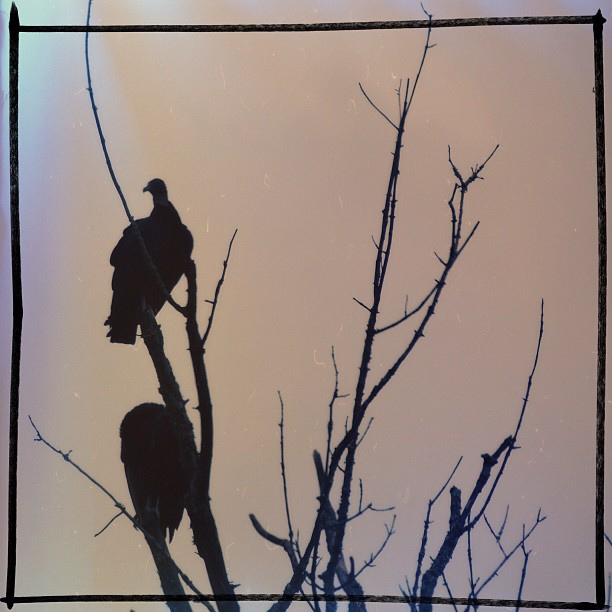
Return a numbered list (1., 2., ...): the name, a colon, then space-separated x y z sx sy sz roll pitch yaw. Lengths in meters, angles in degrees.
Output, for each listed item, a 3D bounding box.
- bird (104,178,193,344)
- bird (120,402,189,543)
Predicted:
1. bird: -0.348 -0.086 3.659 0.233 0.187 0.497 -3 -91 -12
2. bird: -0.321 0.346 3.394 0.124 0.105 0.321 -4 -95 -9
